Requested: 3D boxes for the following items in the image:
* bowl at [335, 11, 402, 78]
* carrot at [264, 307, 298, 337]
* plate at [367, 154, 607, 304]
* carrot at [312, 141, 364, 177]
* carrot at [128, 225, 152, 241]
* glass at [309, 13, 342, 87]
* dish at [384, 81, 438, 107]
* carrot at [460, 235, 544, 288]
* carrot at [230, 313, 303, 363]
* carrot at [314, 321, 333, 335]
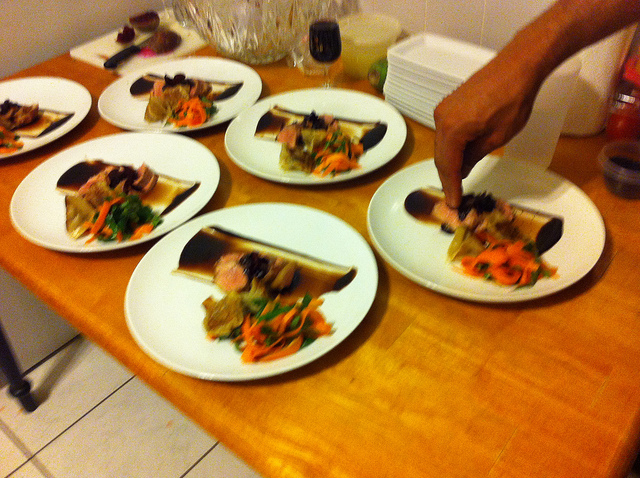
[{"bbox_3d":[0.140,-0.584,1.529,0.192,0.135,0.210,-2,46,2],"label":"bowl"},{"bbox_3d":[-0.063,0.153,0.904,0.027,0.080,0.026,49,59,-7],"label":"carrot"},{"bbox_3d":[0.330,-0.042,1.028,0.464,0.104,0.403,-5,59,-2],"label":"plate"},{"bbox_3d":[0.053,-0.197,1.214,0.093,0.032,0.098,-19,58,-21],"label":"carrot"},{"bbox_3d":[-0.400,-0.014,1.108,0.023,0.010,0.047,18,37,21],"label":"carrot"},{"bbox_3d":[0.012,-0.543,1.427,0.105,0.231,0.096,-36,57,-24],"label":"glass"},{"bbox_3d":[0.231,-0.384,1.304,0.106,0.029,0.114,23,48,19],"label":"dish"},{"bbox_3d":[0.360,0.044,0.968,0.101,0.039,0.103,-37,54,-24],"label":"carrot"},{"bbox_3d":[-0.097,0.175,0.880,0.075,0.030,0.079,4,27,6],"label":"carrot"},{"bbox_3d":[0.006,0.163,0.904,0.028,0.005,0.025,29,63,17],"label":"carrot"}]
